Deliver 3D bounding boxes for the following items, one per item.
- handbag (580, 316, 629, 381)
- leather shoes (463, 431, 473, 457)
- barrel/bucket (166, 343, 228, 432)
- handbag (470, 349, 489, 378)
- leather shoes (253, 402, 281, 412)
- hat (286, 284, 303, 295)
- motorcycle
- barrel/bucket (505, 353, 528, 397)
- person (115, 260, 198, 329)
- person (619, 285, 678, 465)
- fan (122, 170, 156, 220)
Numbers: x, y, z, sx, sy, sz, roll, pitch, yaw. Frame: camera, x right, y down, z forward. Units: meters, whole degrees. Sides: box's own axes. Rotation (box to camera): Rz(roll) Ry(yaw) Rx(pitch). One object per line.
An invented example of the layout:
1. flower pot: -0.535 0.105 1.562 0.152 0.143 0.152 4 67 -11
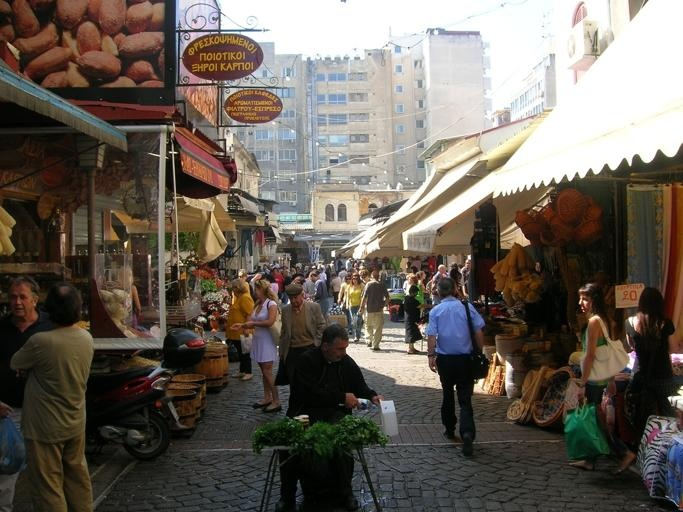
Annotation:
1. handbag: 3.079 1.104 7.621 0.555 0.781 0.296 -15 -3 -21
2. leather shoes: 1.519 2.288 7.906 0.090 0.279 0.181 -3 11 4
3. barrel/bucket: -2.189 1.995 9.538 0.721 0.944 0.946 2 6 6
4. handbag: 1.792 1.431 8.483 0.199 0.419 0.208 0 3 15
5. leather shoes: -1.153 2.326 9.986 0.247 0.095 0.182 -5 -6 39
6. hat: -0.699 0.490 9.469 0.259 0.155 0.250 0 3 16
7. motorcycle: -2.456 1.706 7.986 1.313 1.502 0.593 -2 4 -24
8. barrel/bucket: 2.704 1.898 10.272 0.189 0.767 0.410 -4 4 -43
9. person: -2.548 0.578 8.942 0.922 0.604 0.954 -1 4 -5
10. person: 3.471 1.327 7.327 0.481 1.956 0.669 -1 3 5
11. fan: -2.788 -0.836 9.008 0.543 0.628 0.155 15 14 42
